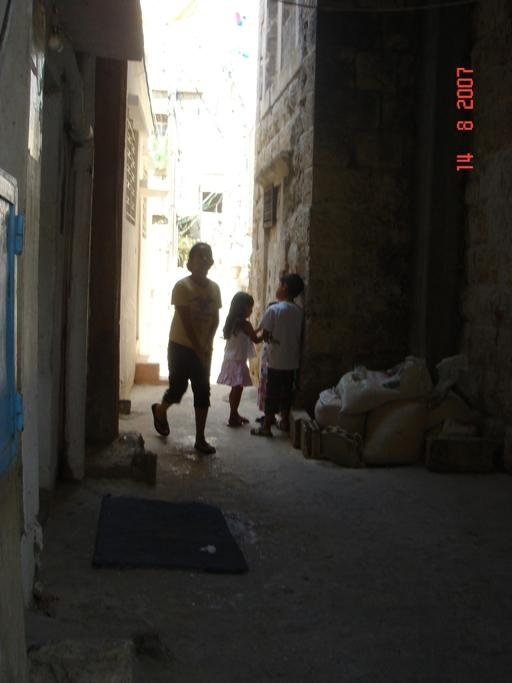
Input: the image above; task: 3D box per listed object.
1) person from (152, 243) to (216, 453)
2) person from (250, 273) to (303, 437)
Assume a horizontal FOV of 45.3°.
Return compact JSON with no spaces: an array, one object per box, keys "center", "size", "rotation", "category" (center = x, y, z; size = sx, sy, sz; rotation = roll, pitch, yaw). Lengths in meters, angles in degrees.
[{"center":[-0.431,0.028,4.203],"size":[0.383,1.413,0.366],"rotation":[1,2,-6],"category":"person"},{"center":[0.172,0.087,4.879],"size":[0.428,1.272,0.323],"rotation":[1,2,-16],"category":"person"}]
